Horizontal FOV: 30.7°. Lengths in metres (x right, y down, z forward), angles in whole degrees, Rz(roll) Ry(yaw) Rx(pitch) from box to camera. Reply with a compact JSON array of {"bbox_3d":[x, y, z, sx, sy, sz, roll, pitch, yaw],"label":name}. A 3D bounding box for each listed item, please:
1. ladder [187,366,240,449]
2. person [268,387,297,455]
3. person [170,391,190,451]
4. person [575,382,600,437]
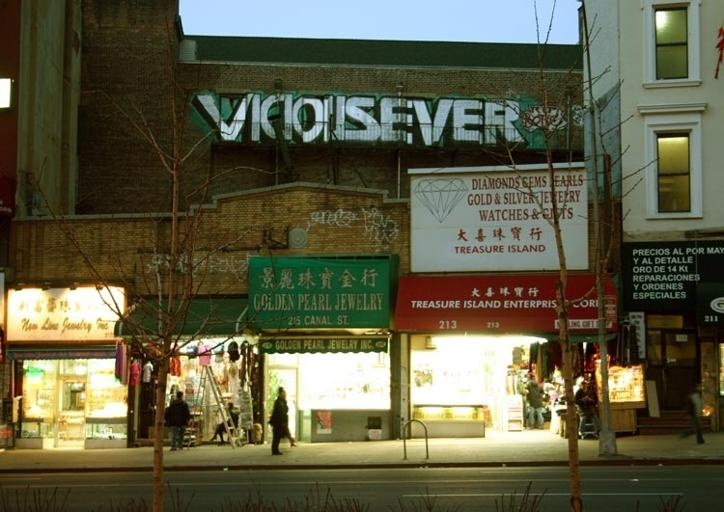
[{"bbox_3d":[-5.678,5.705,50.485,1.585,3.383,1.703,2,-4,-9],"label":"ladder"},{"bbox_3d":[-2.945,5.962,47.352,0.950,2.154,0.805,1,-4,-11],"label":"person"},{"bbox_3d":[-6.791,6.140,48.947,0.703,2.092,1.293,0,-11,-8],"label":"person"},{"bbox_3d":[8.290,5.600,48.481,0.794,2.065,0.865,-3,-11,11],"label":"person"}]
